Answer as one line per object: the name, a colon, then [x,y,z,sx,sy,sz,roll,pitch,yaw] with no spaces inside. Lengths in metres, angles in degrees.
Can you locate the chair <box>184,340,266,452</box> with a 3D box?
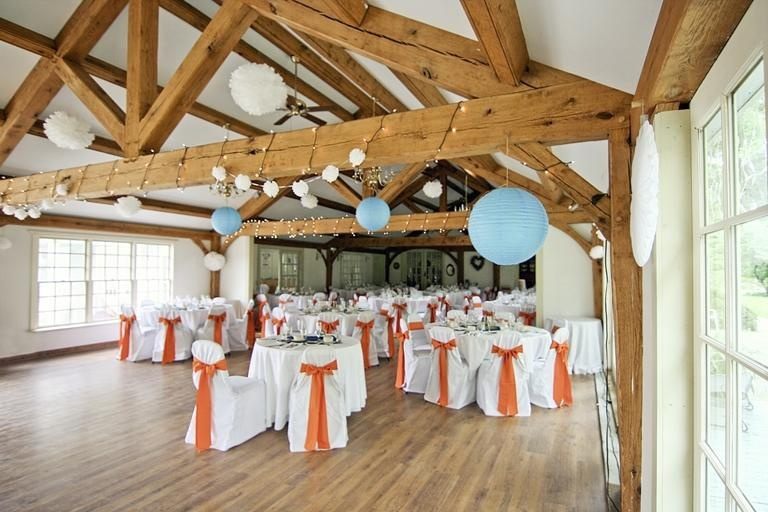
chair: [-1.675,1.464,5.213,0.745,1.116,0.424,-2,7,-14]

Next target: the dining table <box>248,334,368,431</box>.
dining table: [-0.851,1.351,5.597,1.105,0.574,1.094,1,-3,-10]

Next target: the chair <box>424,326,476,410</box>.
chair: [0.856,1.411,6.237,0.669,1.018,0.368,1,7,9]
